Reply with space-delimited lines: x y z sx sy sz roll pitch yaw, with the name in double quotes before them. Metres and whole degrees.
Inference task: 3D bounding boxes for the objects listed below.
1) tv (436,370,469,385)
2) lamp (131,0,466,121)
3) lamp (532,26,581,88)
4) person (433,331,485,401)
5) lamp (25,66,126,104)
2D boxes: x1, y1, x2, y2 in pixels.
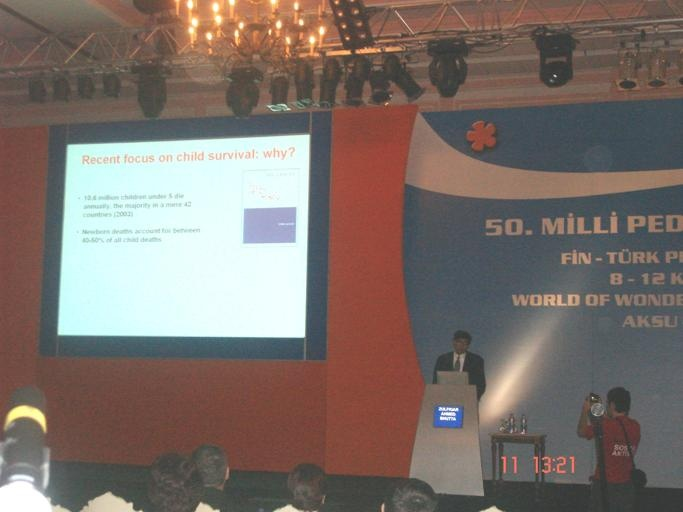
"tv" 1.182 1.291 11.341 0.328 0.135 0.141 2 -7 -1
"lamp" -0.177 -2.217 11.819 2.727 1.004 1.796 -1 1 11
"lamp" 2.438 -2.237 12.168 0.686 0.872 0.569 2 8 18
"person" 1.431 1.309 12.964 0.637 0.834 0.169 1 -7 6
"lamp" -3.249 -2.151 13.231 1.417 0.371 0.210 -10 13 -33
